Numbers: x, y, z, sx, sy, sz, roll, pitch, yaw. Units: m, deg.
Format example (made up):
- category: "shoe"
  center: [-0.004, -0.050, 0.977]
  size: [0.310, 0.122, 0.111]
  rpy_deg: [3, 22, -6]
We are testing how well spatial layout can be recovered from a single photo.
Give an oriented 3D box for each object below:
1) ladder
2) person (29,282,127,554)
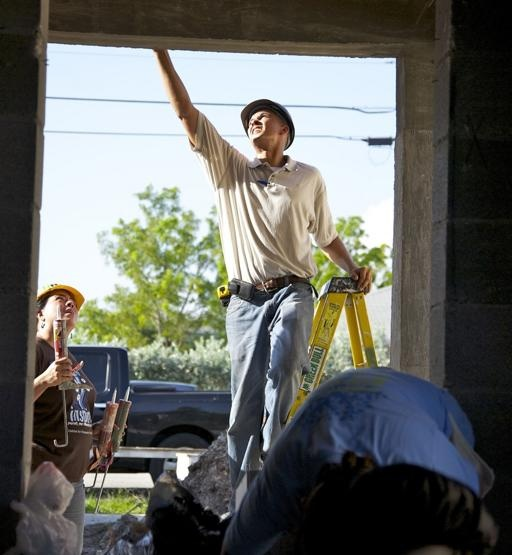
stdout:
- category: "ladder"
  center: [0.494, 0.378, 7.415]
  size: [0.633, 0.980, 0.663]
  rpy_deg: [4, -10, -7]
- category: "person"
  center: [-0.841, 0.685, 5.914]
  size: [0.408, 1.164, 0.947]
  rpy_deg: [3, -1, -7]
